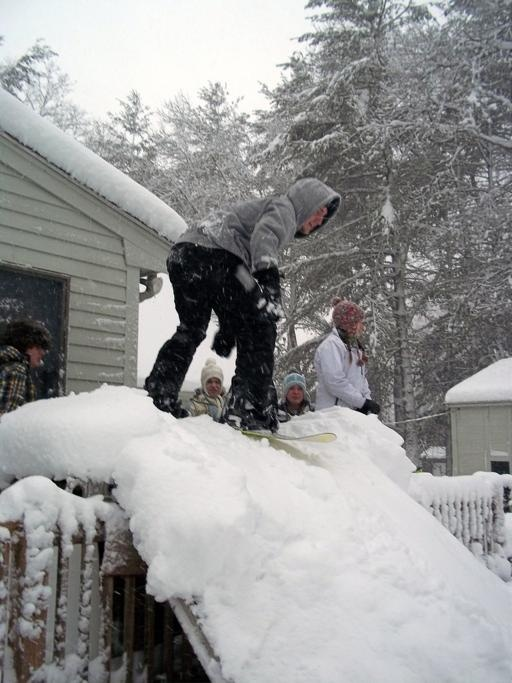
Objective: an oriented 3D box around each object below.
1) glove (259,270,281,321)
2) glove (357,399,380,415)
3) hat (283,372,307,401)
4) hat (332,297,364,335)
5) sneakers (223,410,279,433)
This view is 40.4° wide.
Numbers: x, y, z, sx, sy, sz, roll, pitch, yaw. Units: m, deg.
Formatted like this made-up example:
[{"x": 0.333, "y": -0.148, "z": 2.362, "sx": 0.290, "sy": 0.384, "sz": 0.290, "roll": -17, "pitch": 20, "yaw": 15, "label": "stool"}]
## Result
[{"x": 0.081, "y": -0.210, "z": 3.294, "sx": 0.082, "sy": 0.231, "sz": 0.271, "roll": -1, "pitch": -7, "yaw": 15, "label": "glove"}, {"x": 0.645, "y": 0.369, "z": 3.987, "sx": 0.117, "sy": 0.045, "sz": 0.090, "roll": -4, "pitch": -21, "yaw": 43, "label": "glove"}, {"x": 0.280, "y": 0.285, "z": 4.556, "sx": 0.147, "sy": 0.174, "sz": 0.169, "roll": 2, "pitch": -10, "yaw": -5, "label": "hat"}, {"x": 0.571, "y": -0.161, "z": 4.216, "sx": 0.218, "sy": 0.171, "sz": 0.165, "roll": 18, "pitch": 16, "yaw": 25, "label": "hat"}, {"x": -0.019, "y": 0.369, "z": 3.166, "sx": 0.196, "sy": 0.053, "sz": 0.112, "roll": 11, "pitch": -8, "yaw": -2, "label": "sneakers"}]
